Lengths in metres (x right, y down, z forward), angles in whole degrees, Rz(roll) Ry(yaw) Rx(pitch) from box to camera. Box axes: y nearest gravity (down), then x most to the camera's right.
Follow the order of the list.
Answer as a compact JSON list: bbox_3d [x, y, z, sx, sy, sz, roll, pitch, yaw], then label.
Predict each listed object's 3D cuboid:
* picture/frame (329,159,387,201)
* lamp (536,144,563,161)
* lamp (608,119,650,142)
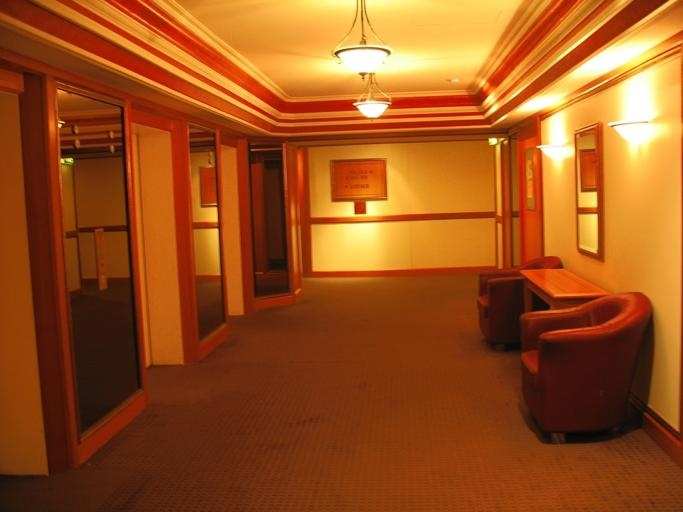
[{"bbox_3d":[0.487,-1.954,12.814,1.077,0.752,0.086,0,2,3],"label":"picture/frame"},{"bbox_3d":[3.129,-1.550,7.632,0.329,0.222,0.884,0,9,15],"label":"lamp"},{"bbox_3d":[2.812,-1.229,5.030,0.331,0.201,0.305,-1,9,8],"label":"lamp"}]
